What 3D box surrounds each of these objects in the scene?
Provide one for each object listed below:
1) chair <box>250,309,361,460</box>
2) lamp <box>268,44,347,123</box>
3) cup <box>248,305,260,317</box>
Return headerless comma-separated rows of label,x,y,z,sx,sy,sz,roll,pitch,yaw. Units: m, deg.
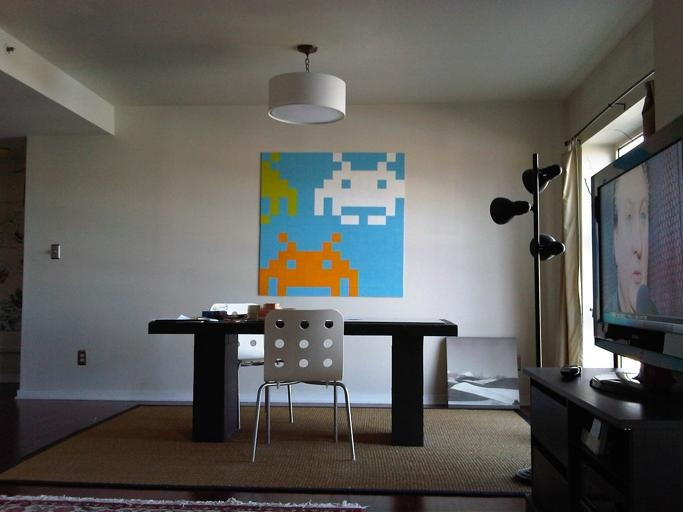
chair,-0.249,0.865,3.955,0.688,0.979,0.707,0,-6,-3
lamp,-0.251,-1.299,4.221,0.510,0.457,0.511,-2,8,-37
cup,-0.636,0.414,4.162,0.080,0.086,0.083,0,-14,0
